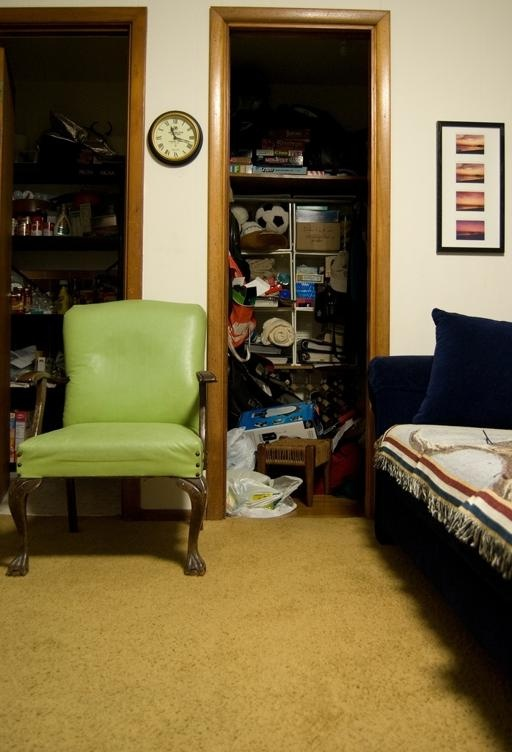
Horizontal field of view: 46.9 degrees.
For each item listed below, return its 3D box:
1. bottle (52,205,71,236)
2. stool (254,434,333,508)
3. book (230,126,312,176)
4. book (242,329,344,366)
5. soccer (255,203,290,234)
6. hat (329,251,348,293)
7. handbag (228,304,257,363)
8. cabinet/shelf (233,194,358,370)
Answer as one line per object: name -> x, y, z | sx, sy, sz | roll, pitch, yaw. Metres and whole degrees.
bottle -> -1.274, -1.028, 3.867 | 0.100, 0.173, 0.058 | 0, 0, -25
stool -> 0.192, 0.458, 2.956 | 0.291, 0.294, 0.320 | -1, -3, 16
book -> 0.140, -1.364, 3.579 | 0.380, 0.268, 0.084 | 0, 0, -7
book -> 0.260, -0.179, 3.766 | 0.580, 0.199, 0.308 | 0, 1, -1
soccer -> 0.115, -0.996, 3.716 | 0.217, 0.189, 0.234 | 0, 0, -8
hat -> 0.527, -0.665, 3.729 | 0.106, 0.267, 0.083 | 0, 0, 7
handbag -> -0.080, -0.256, 3.316 | 0.143, 0.286, 0.172 | 1, 2, 28
cabinet/shelf -> 0.250, -0.593, 3.667 | 1.096, 1.085, 0.364 | 0, -5, -4
